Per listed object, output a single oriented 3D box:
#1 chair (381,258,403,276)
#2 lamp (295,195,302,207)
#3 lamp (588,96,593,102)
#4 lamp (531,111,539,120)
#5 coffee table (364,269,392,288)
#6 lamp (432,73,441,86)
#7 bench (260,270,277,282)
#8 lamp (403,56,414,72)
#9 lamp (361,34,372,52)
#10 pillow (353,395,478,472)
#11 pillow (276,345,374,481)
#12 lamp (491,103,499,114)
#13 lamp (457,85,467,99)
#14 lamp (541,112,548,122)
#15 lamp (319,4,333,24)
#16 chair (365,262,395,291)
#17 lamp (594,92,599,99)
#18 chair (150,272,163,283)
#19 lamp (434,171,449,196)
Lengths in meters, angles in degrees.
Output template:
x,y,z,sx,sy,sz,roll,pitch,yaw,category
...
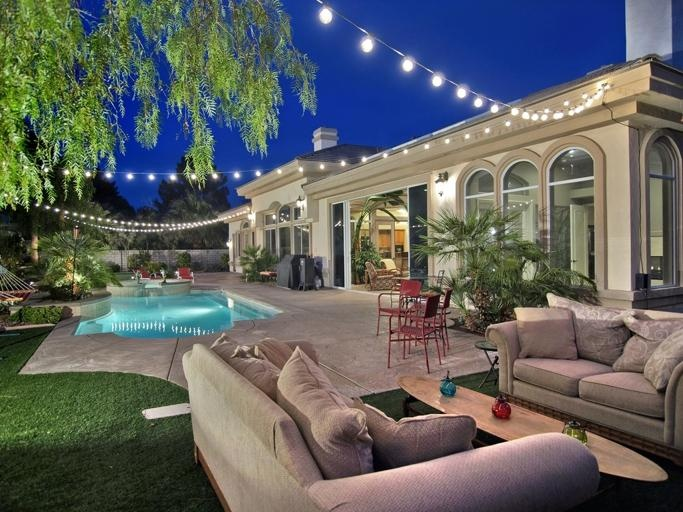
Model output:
x,y,z,sx,sy,sz,roll,pitch,yaw,category
1.744,0.408,14.970,0.473,0.768,0.696,0,-1,-37,chair
-1.550,-2.013,15.892,0.132,0.449,0.587,-2,5,-20,lamp
4.008,-2.525,6.926,0.077,0.081,0.027,4,6,42,lamp
3.402,-2.473,7.568,0.119,0.140,0.120,3,-17,12,lamp
1.174,0.725,13.661,0.643,0.612,0.544,1,1,5,coffee table
1.268,-2.342,5.738,0.077,0.125,0.208,4,6,39,lamp
-3.025,0.827,17.616,0.619,0.430,0.755,-1,5,-18,bench
0.783,-2.255,5.061,0.032,0.146,0.143,6,0,42,lamp
0.264,-2.221,4.512,0.113,0.147,0.118,5,21,13,lamp
0.385,0.929,2.247,0.341,0.378,0.109,-3,16,-3,pillow
-0.115,0.837,2.301,0.274,0.430,0.656,-3,5,-31,pillow
2.398,-2.316,6.721,0.111,0.123,0.284,3,5,33,lamp
1.706,-2.341,6.140,0.225,0.155,0.075,-3,6,-37,lamp
3.570,-2.443,7.565,0.147,0.117,0.084,-2,5,-24,lamp
-0.143,-2.211,3.946,0.082,0.145,0.143,4,6,41,lamp
1.242,0.673,13.866,0.895,0.947,0.741,0,2,-10,chair
4.069,-2.558,6.854,0.083,0.083,0.057,2,5,27,lamp
-7.974,0.928,18.470,0.282,0.300,0.620,1,4,-29,chair
2.377,-1.724,10.231,0.113,0.467,0.433,-14,21,-33,lamp
